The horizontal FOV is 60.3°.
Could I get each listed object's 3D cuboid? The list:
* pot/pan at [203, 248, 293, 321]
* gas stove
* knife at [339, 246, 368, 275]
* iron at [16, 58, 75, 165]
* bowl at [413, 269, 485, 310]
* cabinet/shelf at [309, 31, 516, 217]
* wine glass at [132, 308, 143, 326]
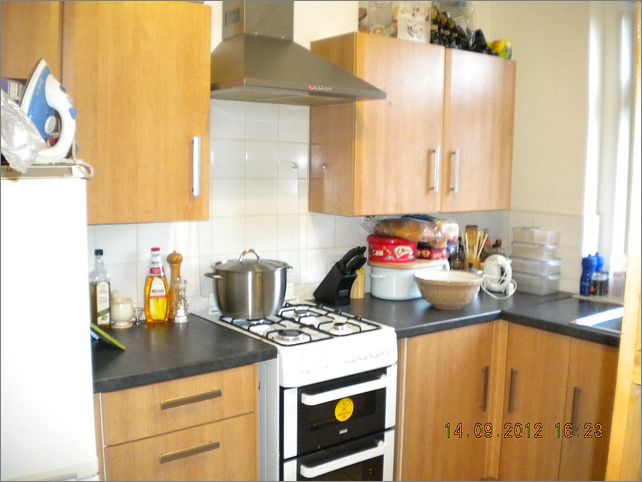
[{"bbox_3d":[-0.343,0.179,2.586,0.355,0.343,0.292,-4,13,-29],"label":"pot/pan"},{"bbox_3d":[-0.057,0.490,2.653,0.623,0.255,0.760,-4,3,-22],"label":"gas stove"},{"bbox_3d":[0.178,0.107,2.877,0.034,0.096,0.172,22,-37,-32],"label":"knife"},{"bbox_3d":[-0.873,-0.412,1.770,0.107,0.300,0.208,-4,14,-35],"label":"iron"},{"bbox_3d":[0.691,0.257,2.941,0.353,0.190,0.281,-4,6,-24],"label":"bowl"},{"bbox_3d":[0.576,-0.606,3.105,1.222,0.890,0.398,-5,11,-33],"label":"cabinet/shelf"},{"bbox_3d":[-0.836,0.338,2.527,0.060,0.097,0.062,0,-3,-34],"label":"wine glass"}]
